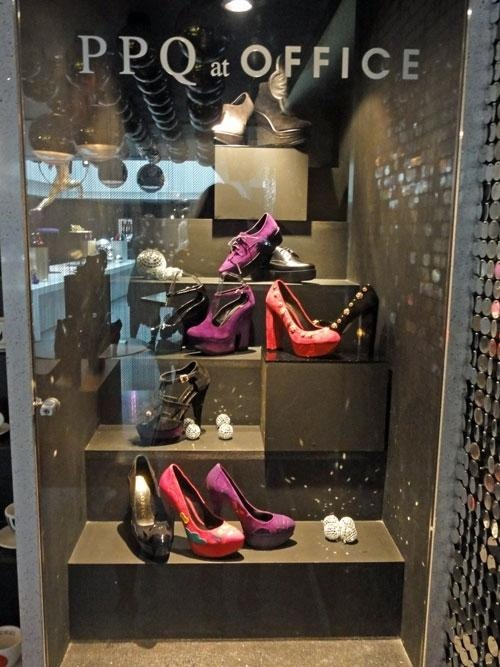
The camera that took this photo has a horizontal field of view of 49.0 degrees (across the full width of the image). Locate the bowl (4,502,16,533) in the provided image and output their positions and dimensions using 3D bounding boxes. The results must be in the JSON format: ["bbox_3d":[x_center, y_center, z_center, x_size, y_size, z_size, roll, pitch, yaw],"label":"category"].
[{"bbox_3d":[-0.697,0.537,1.596,0.023,0.089,0.117,-3,9,-27],"label":"bowl"}]

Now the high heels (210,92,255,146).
[{"bbox_3d":[-0.041,-0.513,1.291,0.071,0.146,0.058,21,-22,14],"label":"high heels"}]

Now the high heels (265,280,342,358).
[{"bbox_3d":[0.124,-0.048,1.450,0.216,0.189,0.131,15,25,13],"label":"high heels"}]

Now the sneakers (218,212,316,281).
[{"bbox_3d":[0.074,-0.203,1.311,0.301,0.138,0.109,-1,24,4],"label":"sneakers"}]

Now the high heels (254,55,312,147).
[{"bbox_3d":[0.077,-0.534,1.279,0.084,0.174,0.181,-19,33,-35],"label":"high heels"}]

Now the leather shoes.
[{"bbox_3d":[-0.259,0.471,1.477,0.102,0.298,0.108,-10,2,-16],"label":"leather shoes"}]
